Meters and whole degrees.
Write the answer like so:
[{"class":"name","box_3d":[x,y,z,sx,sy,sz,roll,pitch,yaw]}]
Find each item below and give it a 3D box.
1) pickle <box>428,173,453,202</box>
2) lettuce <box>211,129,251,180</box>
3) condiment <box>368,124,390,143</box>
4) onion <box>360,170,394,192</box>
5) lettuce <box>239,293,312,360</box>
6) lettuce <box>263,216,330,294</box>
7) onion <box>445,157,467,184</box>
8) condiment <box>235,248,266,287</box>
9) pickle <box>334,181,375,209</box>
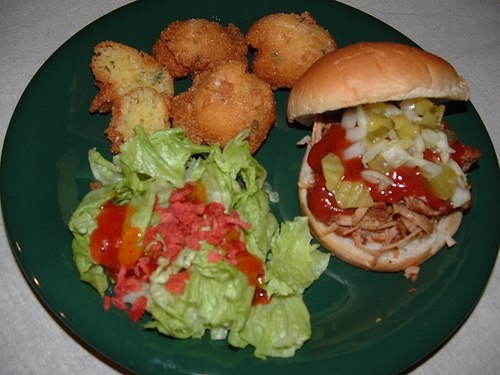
[{"class":"pickle","box_3d":[1.766,-0.004,4.354,0.169,0.073,0.238,-40,85,-4]},{"class":"lettuce","box_3d":[-0.165,-0.301,4.397,0.362,0.165,0.439,-12,106,-8]},{"class":"condiment","box_3d":[1.198,-0.489,4.379,0.216,0.056,0.113,-29,83,-8]},{"class":"onion","box_3d":[1.152,-0.079,4.307,0.292,0.043,0.151,35,85,4]},{"class":"lettuce","box_3d":[0.235,1.316,4.474,0.654,0.178,0.545,-4,84,0]},{"class":"lettuce","box_3d":[0.374,0.710,4.813,0.698,0.294,0.671,39,70,-2]},{"class":"onion","box_3d":[1.945,-0.170,4.435,0.053,0.206,0.204,-31,65,12]},{"class":"condiment","box_3d":[0.020,0.723,4.323,0.218,0.149,0.361,-36,84,-3]},{"class":"pickle","box_3d":[0.954,0.057,4.335,0.345,0.061,0.240,-3,84,0]}]
